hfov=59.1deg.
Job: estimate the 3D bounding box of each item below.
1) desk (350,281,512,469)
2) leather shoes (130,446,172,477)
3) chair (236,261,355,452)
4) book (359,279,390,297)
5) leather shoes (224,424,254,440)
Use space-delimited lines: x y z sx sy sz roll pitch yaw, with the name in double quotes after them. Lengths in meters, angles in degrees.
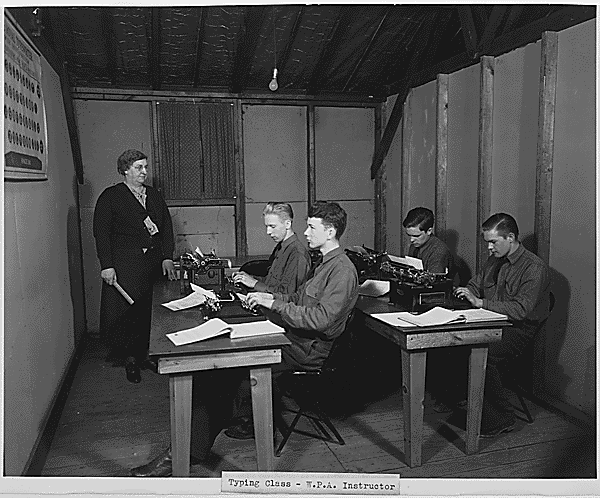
0.836 0.845 3.456 0.862 0.906 0.611 -3 12 -10 "desk"
-0.842 1.258 3.126 0.380 0.162 0.125 1 -6 -3 "leather shoes"
-0.081 0.477 3.934 0.797 1.505 0.733 3 -5 -2 "chair"
0.533 0.293 3.900 0.163 0.053 0.119 11 7 44 "book"
-0.415 1.243 3.585 0.196 0.085 0.087 8 15 -5 "leather shoes"
